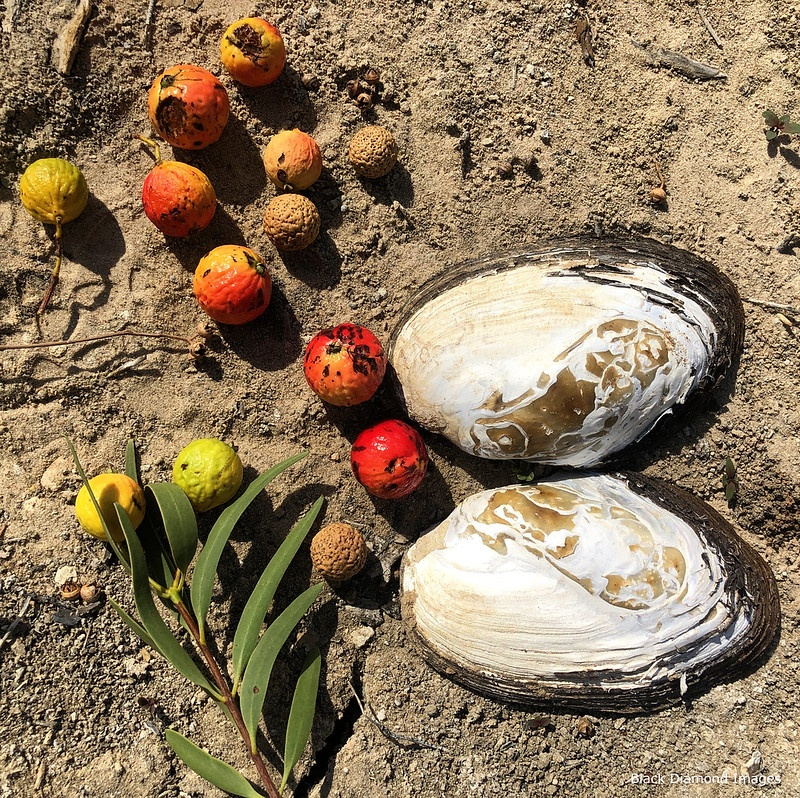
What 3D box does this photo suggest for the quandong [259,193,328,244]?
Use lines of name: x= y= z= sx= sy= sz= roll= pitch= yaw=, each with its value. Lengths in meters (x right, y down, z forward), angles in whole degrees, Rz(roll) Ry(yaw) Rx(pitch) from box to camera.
quandong: x=-0.456 y=-0.756 z=5.150 sx=0.171 sy=0.121 sz=0.230 roll=1 pitch=99 yaw=-10

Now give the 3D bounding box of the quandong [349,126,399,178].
quandong: x=-0.107 y=-1.019 z=5.143 sx=0.157 sy=0.150 sz=0.230 roll=1 pitch=100 yaw=-2

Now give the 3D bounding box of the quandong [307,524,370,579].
quandong: x=-0.256 y=0.616 z=5.114 sx=0.218 sy=0.156 sz=0.197 roll=-37 pitch=58 yaw=-9
